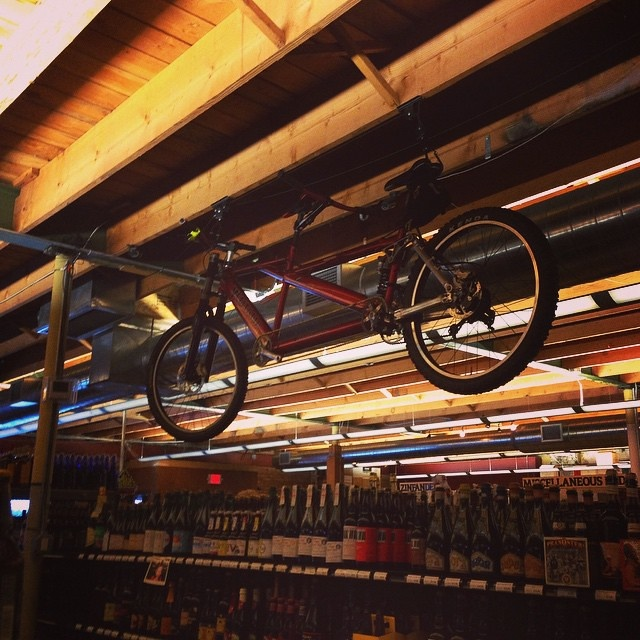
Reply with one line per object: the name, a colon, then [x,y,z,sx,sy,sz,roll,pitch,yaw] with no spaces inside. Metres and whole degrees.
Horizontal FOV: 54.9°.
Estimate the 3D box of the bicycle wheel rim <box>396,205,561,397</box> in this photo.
bicycle wheel rim: [0.797,-0.025,3.169,0.676,0.983,1.481,-5,-19,14]
